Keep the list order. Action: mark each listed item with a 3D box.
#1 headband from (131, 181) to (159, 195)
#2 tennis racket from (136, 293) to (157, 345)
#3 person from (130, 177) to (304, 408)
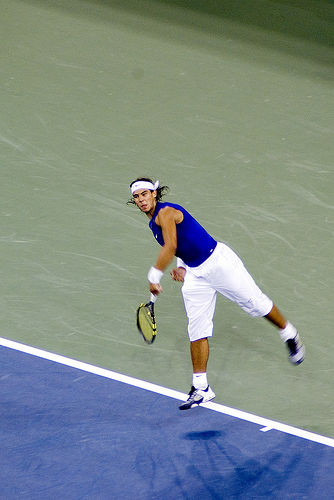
[{"bbox_3d":[-0.124,-0.428,4.392,0.220,0.084,0.122,-13,24,-41],"label":"headband"},{"bbox_3d":[-0.146,0.506,4.717,0.060,0.173,0.457,-20,-14,-18],"label":"tennis racket"},{"bbox_3d":[0.299,0.142,4.825,1.169,1.401,2.029,2,18,-3],"label":"person"}]
